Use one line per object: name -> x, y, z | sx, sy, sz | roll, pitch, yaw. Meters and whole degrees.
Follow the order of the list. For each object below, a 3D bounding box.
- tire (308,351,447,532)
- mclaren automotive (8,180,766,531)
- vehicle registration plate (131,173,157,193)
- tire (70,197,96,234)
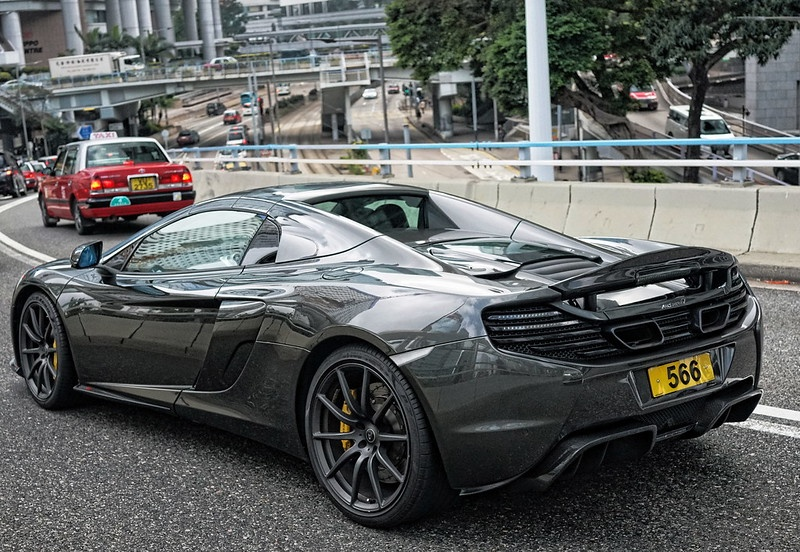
tire -> -0.086, 0.833, 3.469 | 0.389, 0.951, 1.011 | 2, -11, -40
mclaren automotive -> -0.249, 0.290, 4.092 | 4.338, 1.682, 1.632 | 4, 14, 30
vehicle registration plate -> -5.476, -1.981, 13.943 | 0.453, 0.239, 0.058 | -4, 6, -9
tire -> -6.897, -1.360, 14.298 | 0.252, 0.716, 0.753 | -5, 9, -31
